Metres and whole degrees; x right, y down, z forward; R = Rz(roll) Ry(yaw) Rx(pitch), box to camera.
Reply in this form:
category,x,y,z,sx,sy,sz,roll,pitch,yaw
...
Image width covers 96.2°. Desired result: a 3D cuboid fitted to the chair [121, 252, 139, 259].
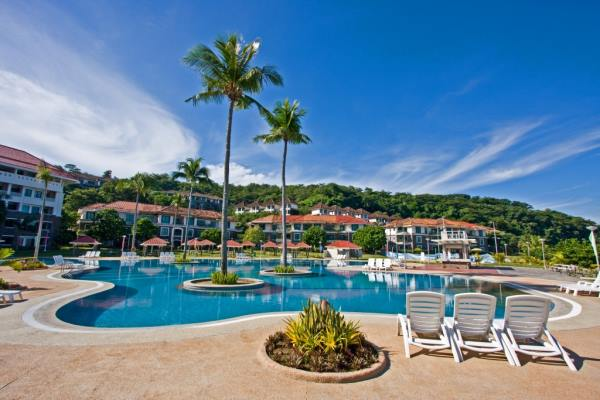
category,x,y,z,sx,sy,sz,roll,pitch,yaw
chair,-24.469,8.036,38.695,1.509,0.564,0.795,14,-12,-43

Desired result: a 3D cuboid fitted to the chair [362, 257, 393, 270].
category,x,y,z,sx,sy,sz,roll,pitch,yaw
chair,9.317,7.754,32.235,2.895,1.291,3.626,1,-9,5

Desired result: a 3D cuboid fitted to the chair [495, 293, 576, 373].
category,x,y,z,sx,sy,sz,roll,pitch,yaw
chair,6.493,3.606,7.583,1.543,1.772,0.818,1,-9,2
